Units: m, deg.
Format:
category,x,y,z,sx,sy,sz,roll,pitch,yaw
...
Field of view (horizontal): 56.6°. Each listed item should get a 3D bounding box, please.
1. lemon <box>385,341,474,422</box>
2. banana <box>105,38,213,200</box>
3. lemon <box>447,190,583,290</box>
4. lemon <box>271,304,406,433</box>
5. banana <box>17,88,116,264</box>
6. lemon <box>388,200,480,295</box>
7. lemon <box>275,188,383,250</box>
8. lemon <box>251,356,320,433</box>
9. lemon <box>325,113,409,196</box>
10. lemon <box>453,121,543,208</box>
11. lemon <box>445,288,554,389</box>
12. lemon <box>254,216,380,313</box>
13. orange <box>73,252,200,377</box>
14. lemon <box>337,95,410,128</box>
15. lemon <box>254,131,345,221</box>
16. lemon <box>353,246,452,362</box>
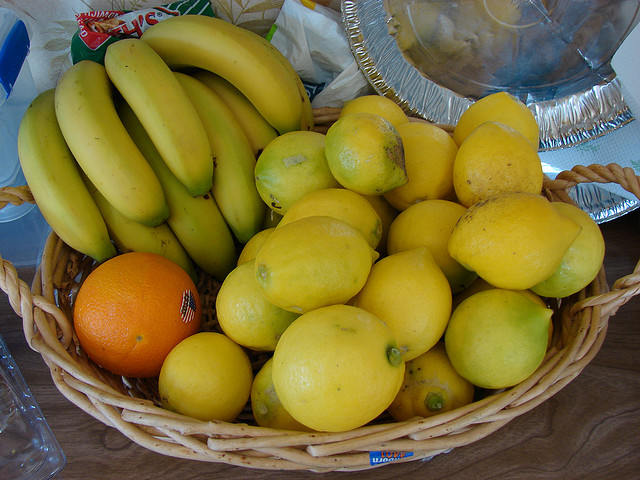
category,x,y,z,sx,sy,sz,roll,pitch,yaw
lemon,0.172,0.208,1.006,0.117,0.141,0.120,14,91,-7
banana,-0.290,-0.241,1.099,0.119,0.110,0.354,-27,75,-25
lemon,0.283,-0.005,0.904,0.185,0.138,0.132,0,93,4
lemon,0.014,0.202,0.932,0.214,0.178,0.176,-8,40,-12
banana,-0.447,-0.102,1.083,0.104,0.113,0.345,-24,85,4
lemon,0.189,-0.008,1.038,0.121,0.126,0.135,39,112,46
lemon,0.030,-0.033,1.012,0.137,0.100,0.098,-11,78,1
lemon,-0.073,0.259,1.000,0.116,0.115,0.132,0,93,18
lemon,0.081,-0.137,1.029,0.141,0.110,0.110,37,72,12
lemon,0.289,-0.124,1.053,0.143,0.135,0.159,-7,82,8
lemon,0.275,0.150,0.924,0.144,0.099,0.139,38,65,25
lemon,-0.008,0.035,0.892,0.176,0.086,0.120,-14,56,-7
orange,-0.308,0.125,1.009,0.190,0.127,0.169,-14,56,-6
lemon,0.101,-0.232,1.127,0.097,0.075,0.074,5,71,23
lemon,-0.045,-0.128,1.125,0.171,0.139,0.141,-16,45,2
lemon,0.139,0.112,0.973,0.155,0.183,0.149,-7,80,44
